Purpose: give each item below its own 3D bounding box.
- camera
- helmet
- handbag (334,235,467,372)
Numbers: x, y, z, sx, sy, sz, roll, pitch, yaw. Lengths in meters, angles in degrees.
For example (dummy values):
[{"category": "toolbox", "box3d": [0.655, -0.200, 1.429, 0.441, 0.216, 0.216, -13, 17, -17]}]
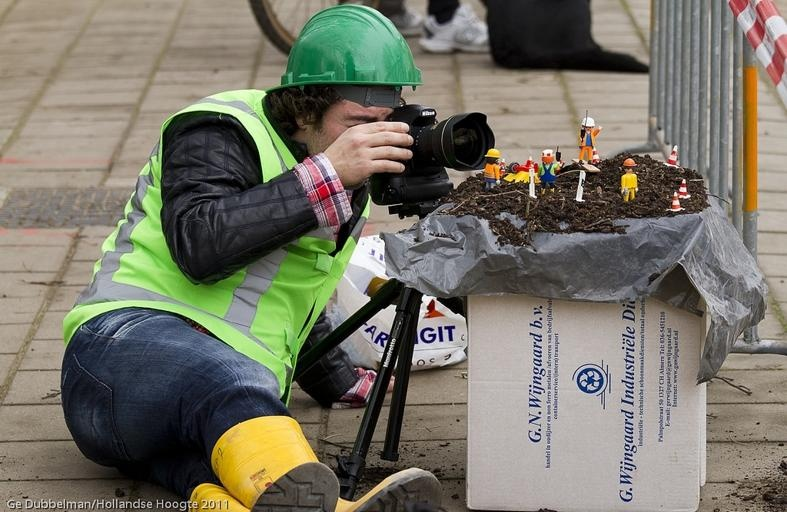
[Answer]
[{"category": "camera", "box3d": [0.155, -0.408, 5.188, 0.492, 0.305, 0.369, -6, 3, 38]}, {"category": "helmet", "box3d": [-0.161, -0.773, 5.131, 0.436, 0.187, 0.385, 4, 7, 28]}, {"category": "handbag", "box3d": [0.057, 0.213, 6.066, 0.752, 0.590, 0.483, -5, 9, 3]}]
